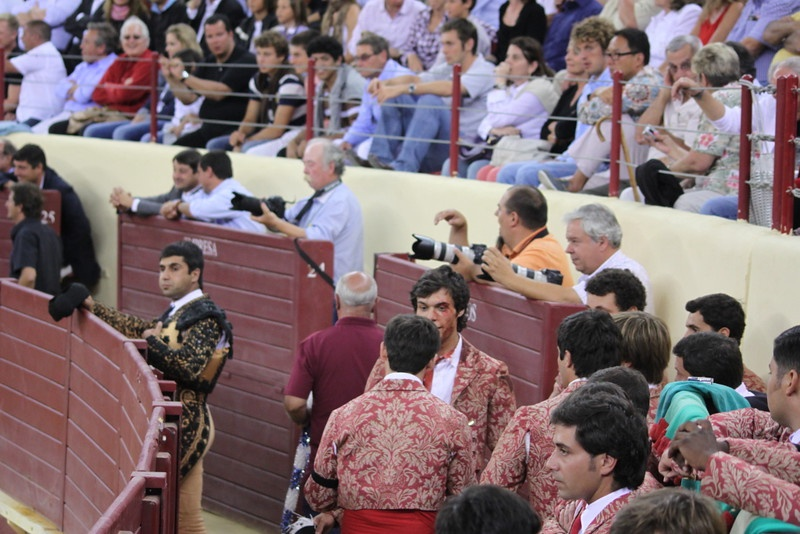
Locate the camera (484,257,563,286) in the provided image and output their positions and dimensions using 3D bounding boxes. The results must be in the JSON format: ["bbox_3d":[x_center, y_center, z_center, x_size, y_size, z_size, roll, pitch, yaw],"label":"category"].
[{"bbox_3d":[0.947,0.048,8.761,0.407,0.150,0.096,11,30,-5],"label":"camera"}]

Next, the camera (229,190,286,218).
[{"bbox_3d":[-1.380,-0.612,11.001,0.415,0.176,0.262,11,11,6],"label":"camera"}]

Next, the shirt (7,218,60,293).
[{"bbox_3d":[-4.104,-0.079,12.632,0.505,0.913,0.921,-3,1,-1],"label":"shirt"}]

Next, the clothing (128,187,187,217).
[{"bbox_3d":[-2.679,-0.693,12.229,0.475,0.145,0.366,-9,6,9],"label":"clothing"}]

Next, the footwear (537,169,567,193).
[{"bbox_3d":[1.410,-0.803,10.559,0.150,0.131,0.375,-16,30,-15],"label":"footwear"}]

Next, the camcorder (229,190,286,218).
[{"bbox_3d":[-1.391,-0.614,11.004,0.415,0.176,0.262,11,11,6],"label":"camcorder"}]

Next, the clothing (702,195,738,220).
[{"bbox_3d":[2.622,-0.487,9.197,0.217,0.095,0.225,-2,54,22],"label":"clothing"}]

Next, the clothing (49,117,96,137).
[{"bbox_3d":[-4.570,-1.879,15.460,0.413,0.152,0.333,0,37,2],"label":"clothing"}]

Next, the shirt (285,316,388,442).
[{"bbox_3d":[-0.476,0.883,8.666,0.828,0.934,0.524,21,16,-4],"label":"shirt"}]

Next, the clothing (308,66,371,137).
[{"bbox_3d":[-0.705,-1.883,12.739,0.711,0.723,0.413,11,13,31],"label":"clothing"}]

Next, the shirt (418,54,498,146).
[{"bbox_3d":[0.612,-1.698,11.719,0.588,0.806,0.630,-24,43,-12],"label":"shirt"}]

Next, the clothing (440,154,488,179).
[{"bbox_3d":[0.689,-1.016,11.582,0.318,0.210,0.265,8,3,42],"label":"clothing"}]

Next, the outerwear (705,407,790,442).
[{"bbox_3d":[2.075,0.949,6.709,0.259,0.113,0.256,5,5,-4],"label":"outerwear"}]

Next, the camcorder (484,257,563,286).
[{"bbox_3d":[0.947,0.048,8.761,0.407,0.150,0.096,11,30,-5],"label":"camcorder"}]

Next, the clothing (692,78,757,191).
[{"bbox_3d":[2.655,-1.063,9.365,0.350,0.692,0.723,6,4,-9],"label":"clothing"}]

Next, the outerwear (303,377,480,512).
[{"bbox_3d":[-0.046,1.231,7.520,1.200,1.055,0.600,1,11,6],"label":"outerwear"}]

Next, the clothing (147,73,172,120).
[{"bbox_3d":[-3.094,-2.180,14.593,0.432,0.620,0.226,4,16,16],"label":"clothing"}]

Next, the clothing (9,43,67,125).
[{"bbox_3d":[-5.283,-2.694,16.502,0.765,1.216,0.935,10,15,12],"label":"clothing"}]

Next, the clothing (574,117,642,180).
[{"bbox_3d":[1.861,-1.080,10.260,0.468,0.647,0.221,0,24,20],"label":"clothing"}]

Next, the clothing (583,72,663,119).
[{"bbox_3d":[2.056,-1.554,10.128,0.629,0.367,0.974,6,4,-10],"label":"clothing"}]

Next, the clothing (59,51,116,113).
[{"bbox_3d":[-4.300,-2.523,15.536,0.513,0.898,0.700,15,16,-28],"label":"clothing"}]

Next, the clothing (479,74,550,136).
[{"bbox_3d":[1.201,-1.553,11.420,0.636,0.612,0.578,9,30,-1],"label":"clothing"}]

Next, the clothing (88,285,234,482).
[{"bbox_3d":[-1.791,1.002,9.345,0.681,1.529,0.422,6,5,-8],"label":"clothing"}]

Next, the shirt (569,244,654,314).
[{"bbox_3d":[1.671,0.082,8.918,0.614,0.630,0.451,1,10,4],"label":"shirt"}]

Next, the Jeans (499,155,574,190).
[{"bbox_3d":[1.330,-0.930,10.830,0.610,0.225,0.377,-13,16,-13],"label":"Jeans"}]
